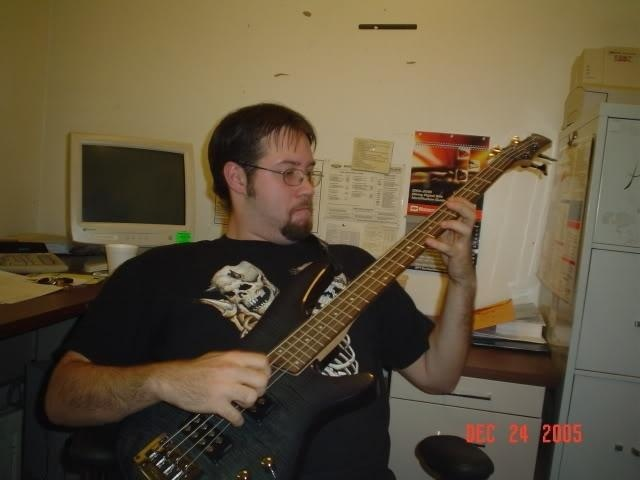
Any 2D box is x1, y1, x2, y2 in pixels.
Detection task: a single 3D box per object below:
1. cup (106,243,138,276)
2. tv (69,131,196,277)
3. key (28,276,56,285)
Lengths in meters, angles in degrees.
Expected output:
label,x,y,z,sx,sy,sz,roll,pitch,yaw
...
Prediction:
label,x,y,z,sx,sy,sz,roll,pitch,yaw
cup,-0.843,0.073,2.194,0.165,0.146,0.154,8,9,-1
tv,-0.924,-0.136,2.414,0.565,0.633,0.330,1,-14,-33
key,-1.123,0.164,2.023,0.070,0.019,0.043,6,26,-10
